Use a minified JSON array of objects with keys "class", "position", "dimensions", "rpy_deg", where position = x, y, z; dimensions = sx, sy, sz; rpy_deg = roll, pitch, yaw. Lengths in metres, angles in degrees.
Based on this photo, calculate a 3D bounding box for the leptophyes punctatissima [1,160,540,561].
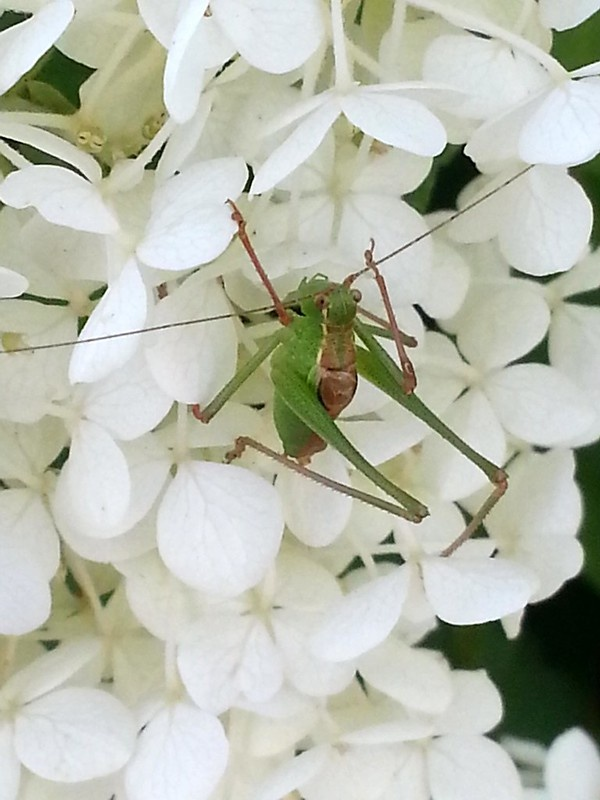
[{"class":"leptophyes punctatissima","position":[0.010,-0.077,1.191],"dimensions":[0.409,0.125,0.347],"rpy_deg":[0,104,-6]}]
